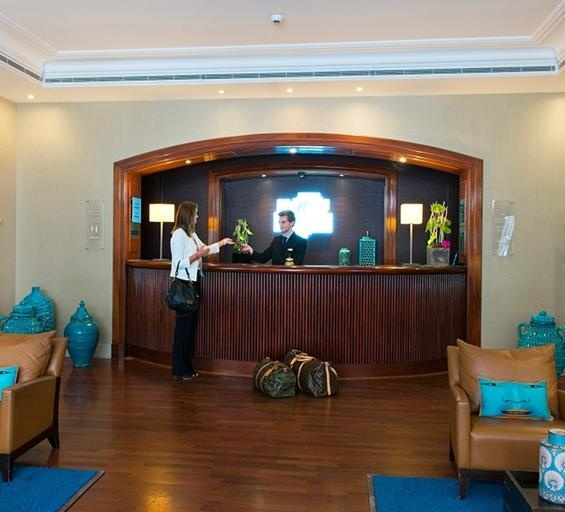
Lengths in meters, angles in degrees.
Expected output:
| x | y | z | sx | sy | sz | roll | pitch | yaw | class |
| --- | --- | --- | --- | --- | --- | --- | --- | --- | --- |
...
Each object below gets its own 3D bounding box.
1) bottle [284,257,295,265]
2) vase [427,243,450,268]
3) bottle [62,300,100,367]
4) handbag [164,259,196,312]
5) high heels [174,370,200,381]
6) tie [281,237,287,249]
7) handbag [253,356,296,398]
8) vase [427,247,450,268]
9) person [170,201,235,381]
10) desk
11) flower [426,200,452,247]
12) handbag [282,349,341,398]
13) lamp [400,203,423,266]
| x | y | z | sx | sy | sz | roll | pitch | yaw | class |
| --- | --- | --- | --- | --- | --- | --- | --- | --- | --- |
| 0.088 | 0.061 | 5.710 | 0.079 | 0.092 | 0.084 | 0 | -3 | 2 | bottle |
| 2.030 | -0.002 | 6.285 | 0.242 | 0.251 | 0.252 | 0 | 0 | -20 | vase |
| -2.597 | 0.995 | 6.294 | 0.410 | 0.808 | 0.378 | 1 | 1 | 0 | bottle |
| -1.100 | 0.355 | 5.359 | 0.337 | 0.561 | 0.218 | 0 | 1 | -14 | handbag |
| -1.112 | 1.369 | 5.609 | 0.198 | 0.081 | 0.119 | -1 | 0 | 16 | high heels |
| 0.034 | -0.175 | 6.386 | 0.028 | 0.128 | 0.082 | 10 | -14 | -44 | tie |
| -0.075 | 1.263 | 5.080 | 0.260 | 0.334 | 0.460 | 0 | 3 | -25 | handbag |
| 2.023 | 0.011 | 6.270 | 0.228 | 0.224 | 0.238 | 0 | 0 | -11 | vase |
| -1.012 | 0.400 | 5.511 | 0.578 | 2.015 | 0.450 | 0 | 1 | -17 | person |
| 0.144 | 0.755 | 6.309 | 4.510 | 1.606 | 1.464 | 2 | 4 | 4 | desk |
| 2.194 | -0.475 | 6.784 | 0.349 | 0.670 | 1.196 | 1 | 2 | 18 | flower |
| 0.280 | 1.244 | 5.184 | 0.286 | 0.237 | 0.529 | 1 | 3 | -28 | handbag |
| 1.893 | -0.347 | 7.114 | 0.353 | 0.900 | 0.894 | 1 | 2 | 16 | lamp |
